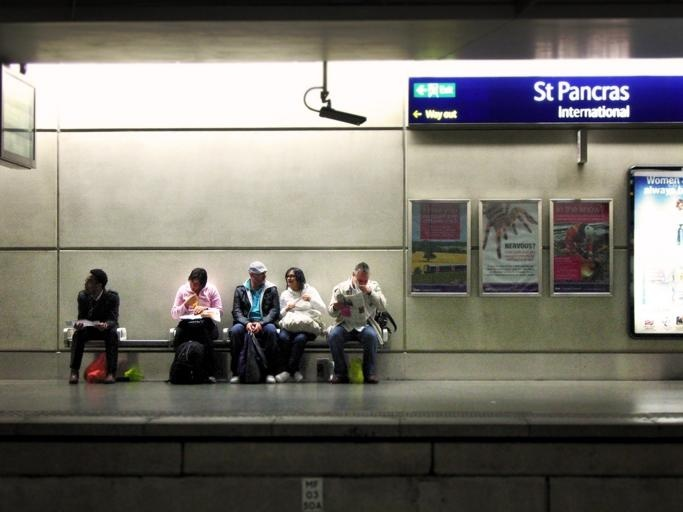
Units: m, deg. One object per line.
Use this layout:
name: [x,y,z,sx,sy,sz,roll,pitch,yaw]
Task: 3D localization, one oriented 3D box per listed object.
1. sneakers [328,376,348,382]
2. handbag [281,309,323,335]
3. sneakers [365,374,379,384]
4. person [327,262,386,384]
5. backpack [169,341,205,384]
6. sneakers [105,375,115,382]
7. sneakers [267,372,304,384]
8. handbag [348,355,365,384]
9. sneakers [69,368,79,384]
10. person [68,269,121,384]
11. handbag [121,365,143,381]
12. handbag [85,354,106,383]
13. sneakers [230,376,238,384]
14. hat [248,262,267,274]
sneakers: [-0.030,1.712,11.174,0.180,0.066,0.109,3,-4,-21]
handbag: [-0.564,0.932,11.333,0.605,0.327,0.217,0,-1,-4]
sneakers: [0.413,1.698,11.168,0.091,0.076,0.166,3,-11,-27]
person: [0.207,0.926,11.265,0.778,1.648,0.323,0,-1,2]
backpack: [-2.114,1.472,11.115,0.494,0.583,0.337,2,-16,1]
sneakers: [-3.252,1.708,11.291,0.127,0.115,0.099,1,-1,-17]
sneakers: [-0.796,1.697,11.262,0.485,0.207,0.169,9,-11,-28]
handbag: [0.205,1.597,11.255,0.175,0.326,0.121,-2,-25,-2]
sneakers: [-3.759,1.678,11.292,0.097,0.113,0.244,1,3,-9]
person: [-3.501,0.970,11.395,0.641,1.582,0.467,0,-1,-9]
handbag: [-3.017,1.687,11.587,0.162,0.140,0.271,1,-2,-5]
handbag: [-3.479,1.573,11.335,0.281,0.385,0.181,1,-1,-22]
sneakers: [-1.489,1.713,11.162,0.068,0.079,0.120,0,-19,2]
hat: [-1.220,0.154,11.525,0.202,0.104,0.152,-7,12,-5]
